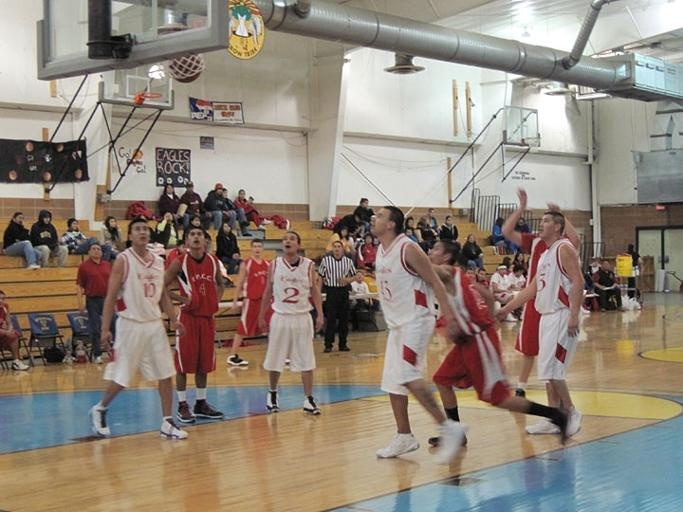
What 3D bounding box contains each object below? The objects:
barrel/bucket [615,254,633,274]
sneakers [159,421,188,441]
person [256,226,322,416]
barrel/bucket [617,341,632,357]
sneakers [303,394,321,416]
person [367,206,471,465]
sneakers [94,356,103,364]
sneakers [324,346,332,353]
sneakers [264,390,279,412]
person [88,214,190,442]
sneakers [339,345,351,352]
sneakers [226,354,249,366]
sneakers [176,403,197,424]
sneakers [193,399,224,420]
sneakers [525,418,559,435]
[{"bbox_3d":[10.323,0.295,21.867,0.683,0.829,0.468,-1,-11,12],"label":"barrel/bucket"},{"bbox_3d":[-1.606,1.662,5.744,0.350,0.157,0.119,-3,-4,43],"label":"sneakers"},{"bbox_3d":[-0.598,0.744,7.049,0.729,2.054,0.790,-1,-2,-3],"label":"person"},{"bbox_3d":[5.236,1.695,11.067,0.288,0.291,0.159,2,7,23],"label":"barrel/bucket"},{"bbox_3d":[-0.341,1.674,6.705,0.097,0.204,0.274,3,-8,-40],"label":"sneakers"},{"bbox_3d":[0.605,0.612,4.894,0.747,2.093,0.410,-2,-2,20],"label":"person"},{"bbox_3d":[-4.577,1.957,11.332,0.091,0.100,0.210,6,-13,-31],"label":"sneakers"},{"bbox_3d":[-0.279,1.866,12.056,0.163,0.090,0.268,-1,-2,-2],"label":"sneakers"},{"bbox_3d":[-0.798,1.653,6.931,0.147,0.230,0.284,-1,-2,-8],"label":"sneakers"},{"bbox_3d":[-1.961,0.693,5.838,0.868,2.131,0.538,-1,-2,-19],"label":"person"},{"bbox_3d":[0.075,1.881,12.196,0.182,0.117,0.095,-8,-9,29],"label":"sneakers"},{"bbox_3d":[-1.819,1.824,10.553,0.360,0.180,0.188,3,-1,-10],"label":"sneakers"},{"bbox_3d":[-1.676,1.700,6.493,0.120,0.154,0.307,3,-10,-29],"label":"sneakers"},{"bbox_3d":[-1.490,1.705,6.688,0.417,0.202,0.155,0,-4,11],"label":"sneakers"},{"bbox_3d":[1.881,1.609,5.644,0.202,0.071,0.171,0,-4,1],"label":"sneakers"}]
